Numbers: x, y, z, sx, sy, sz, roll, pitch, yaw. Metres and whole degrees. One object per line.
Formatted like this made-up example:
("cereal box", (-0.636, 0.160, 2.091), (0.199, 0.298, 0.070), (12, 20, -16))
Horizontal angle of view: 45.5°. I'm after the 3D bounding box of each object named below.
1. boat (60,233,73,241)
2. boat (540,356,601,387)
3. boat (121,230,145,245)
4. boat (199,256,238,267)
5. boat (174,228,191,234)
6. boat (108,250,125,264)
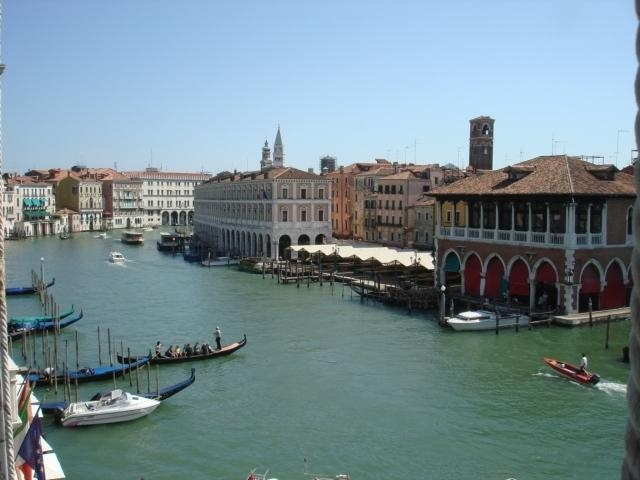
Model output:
("boat", (-52.425, -0.749, 156.885), (2.167, 1.308, 3.655), (-1, -3, 3))
("boat", (14.660, 7.613, 44.548), (1.117, 0.665, 2.859), (-13, 20, -27))
("boat", (-35.488, -0.457, 144.303), (2.687, 1.999, 8.587), (-1, 2, -23))
("boat", (-13.574, 2.803, 102.541), (4.618, 1.038, 7.817), (-2, 8, -5))
("boat", (-31.389, -2.063, 173.258), (2.481, 1.472, 2.412), (-2, 7, -18))
("boat", (-29.194, 2.714, 109.291), (1.651, 1.478, 5.540), (-4, 14, -24))
